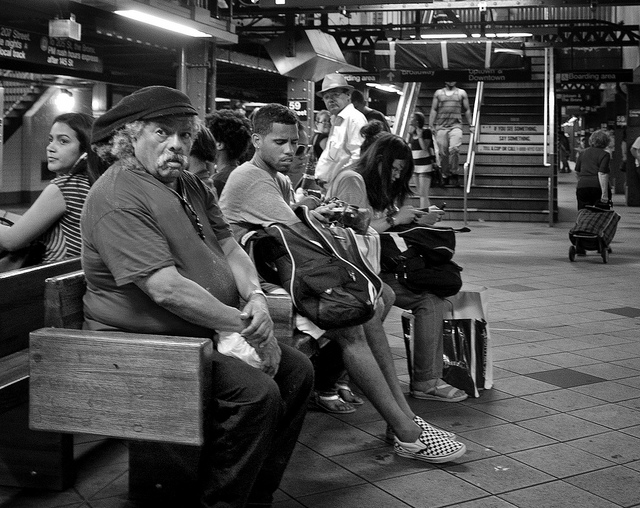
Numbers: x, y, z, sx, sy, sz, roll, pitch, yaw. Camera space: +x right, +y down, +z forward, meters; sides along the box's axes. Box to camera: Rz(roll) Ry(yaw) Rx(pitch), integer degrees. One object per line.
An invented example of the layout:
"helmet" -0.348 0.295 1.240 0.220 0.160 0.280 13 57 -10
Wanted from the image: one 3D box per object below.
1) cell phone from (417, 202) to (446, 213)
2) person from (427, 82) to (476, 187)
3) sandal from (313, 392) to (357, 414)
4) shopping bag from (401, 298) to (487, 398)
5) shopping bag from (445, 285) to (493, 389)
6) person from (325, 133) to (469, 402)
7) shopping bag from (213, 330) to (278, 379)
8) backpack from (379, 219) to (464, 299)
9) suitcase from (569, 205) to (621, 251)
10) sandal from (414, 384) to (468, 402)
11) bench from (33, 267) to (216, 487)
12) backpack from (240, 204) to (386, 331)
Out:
"cell phone" 0.812 -0.330 4.247 0.244 0.081 0.065 -5 33 2
"person" 3.373 -3.196 15.177 1.155 2.862 1.094 13 24 43
"sandal" 0.079 0.994 3.988 0.333 0.107 0.116 2 3 16
"shopping bag" 1.009 0.680 4.222 0.742 0.647 0.631 -3 4 -44
"shopping bag" 1.098 0.569 4.442 0.431 0.647 0.509 7 15 17
"person" 0.511 0.105 4.237 1.207 1.753 0.716 6 5 12
"shopping bag" -0.303 0.383 2.457 0.286 0.160 0.270 4 13 -2
"backpack" 0.697 0.003 4.242 0.650 0.518 0.506 13 18 38
"suitcase" 4.866 -0.372 10.452 0.657 0.382 0.919 17 52 33
"sandal" 0.839 0.962 4.138 0.341 0.116 0.126 -1 -5 12
"bench" -0.744 0.618 2.434 0.704 1.039 0.623 2 10 4
"backpack" -0.023 0.056 3.271 0.662 0.305 0.789 -9 40 -8
